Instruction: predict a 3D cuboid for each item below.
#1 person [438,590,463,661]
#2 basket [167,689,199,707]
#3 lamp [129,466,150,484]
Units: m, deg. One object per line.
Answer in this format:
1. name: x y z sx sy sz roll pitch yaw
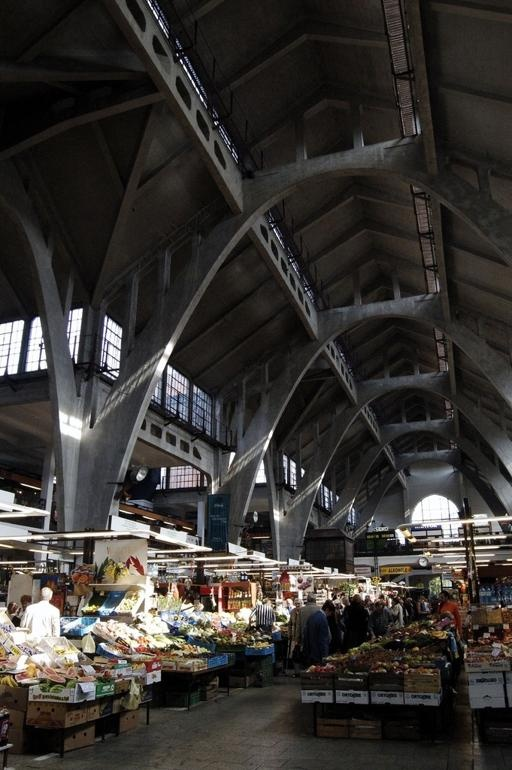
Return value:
1. person: 3.693 4.581 10.421 0.385 1.208 0.295 -13 -16 37
2. basket: -0.990 4.208 7.393 0.366 0.146 0.212 -11 -24 24
3. lamp: -2.536 1.899 11.660 0.259 0.431 0.608 1 -20 -1
